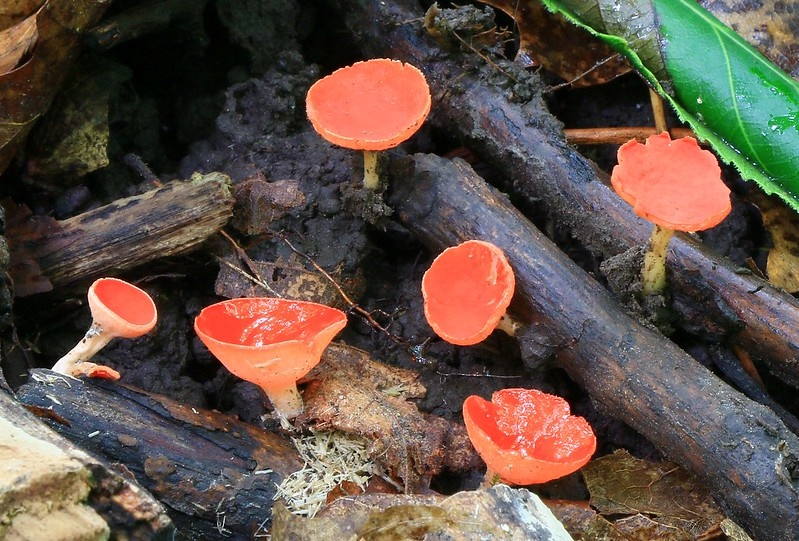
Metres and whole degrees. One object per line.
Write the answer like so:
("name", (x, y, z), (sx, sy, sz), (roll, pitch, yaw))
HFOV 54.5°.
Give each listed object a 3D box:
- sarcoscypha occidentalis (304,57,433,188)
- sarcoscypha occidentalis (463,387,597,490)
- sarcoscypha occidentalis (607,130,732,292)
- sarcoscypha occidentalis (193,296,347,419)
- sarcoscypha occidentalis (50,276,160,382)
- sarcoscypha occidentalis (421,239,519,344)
("sarcoscypha occidentalis", (-0.213, -1.056, 4.986), (0.769, 0.439, 0.629), (-7, 28, -7))
("sarcoscypha occidentalis", (0.753, 0.956, 4.618), (0.750, 0.373, 0.626), (-2, 28, 3))
("sarcoscypha occidentalis", (1.561, -0.285, 4.621), (0.644, 0.908, 0.605), (0, 28, 8))
("sarcoscypha occidentalis", (-0.786, 0.426, 4.693), (0.747, 0.647, 0.878), (-8, 15, -20))
("sarcoscypha occidentalis", (-1.835, 0.444, 4.698), (0.459, 0.632, 0.441), (45, 10, 22))
("sarcoscypha occidentalis", (0.411, 0.120, 4.813), (0.544, 0.450, 0.519), (-6, 28, -4))
